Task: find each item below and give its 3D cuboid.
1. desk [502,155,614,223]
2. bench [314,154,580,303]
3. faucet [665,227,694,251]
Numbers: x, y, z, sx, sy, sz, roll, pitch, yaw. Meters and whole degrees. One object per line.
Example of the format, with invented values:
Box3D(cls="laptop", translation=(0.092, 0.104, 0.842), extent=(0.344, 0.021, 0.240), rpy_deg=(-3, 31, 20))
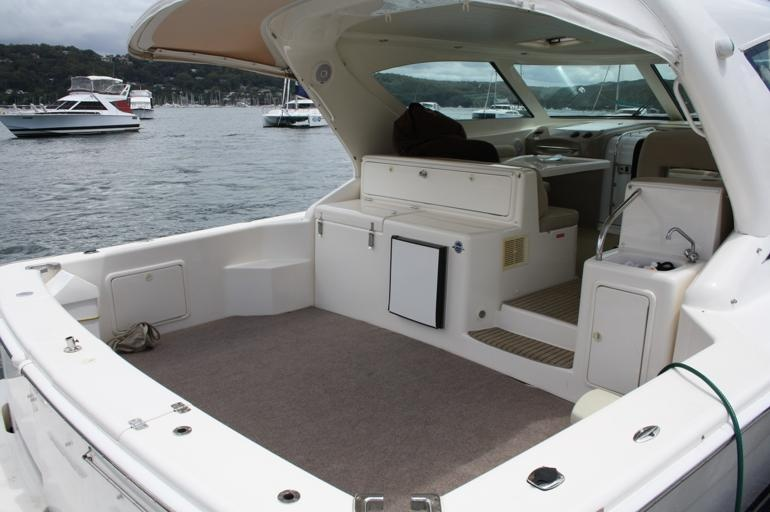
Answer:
Box3D(cls="desk", translation=(1.457, -0.539, 3.810), extent=(0.776, 0.455, 0.754), rpy_deg=(-13, 22, -29))
Box3D(cls="bench", translation=(0.351, -0.176, 3.305), extent=(1.574, 0.897, 1.203), rpy_deg=(13, 22, 39))
Box3D(cls="faucet", translation=(1.344, -0.073, 2.118), extent=(0.043, 0.102, 0.130), rpy_deg=(-14, 22, -28))
